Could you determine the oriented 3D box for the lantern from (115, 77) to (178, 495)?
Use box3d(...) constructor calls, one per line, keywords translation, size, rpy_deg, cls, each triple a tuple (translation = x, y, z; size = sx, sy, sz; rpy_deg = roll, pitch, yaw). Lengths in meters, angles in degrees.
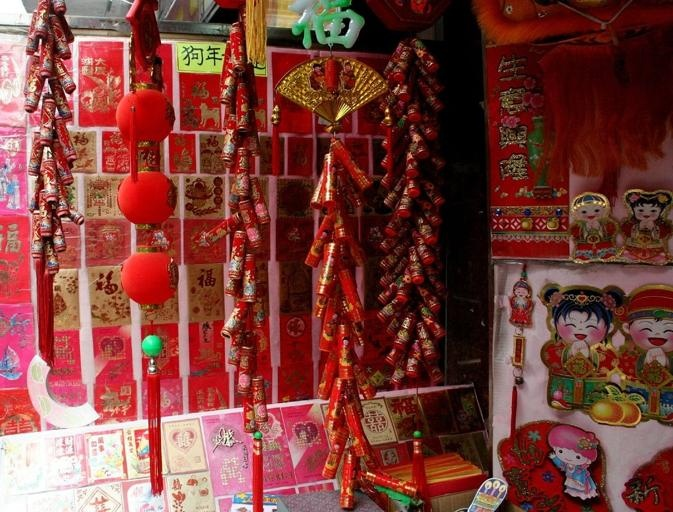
box3d(translation=(-0.877, 0.143, 2.576), size=(0.244, 1.848, 0.384), rpy_deg=(0, 7, -22), cls="lantern")
